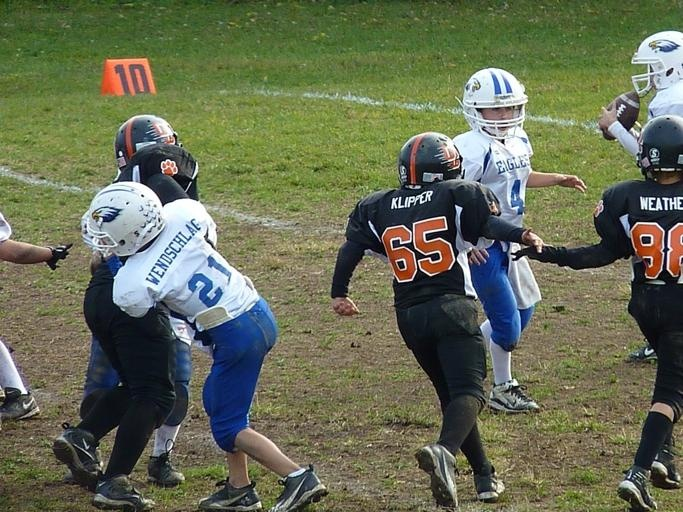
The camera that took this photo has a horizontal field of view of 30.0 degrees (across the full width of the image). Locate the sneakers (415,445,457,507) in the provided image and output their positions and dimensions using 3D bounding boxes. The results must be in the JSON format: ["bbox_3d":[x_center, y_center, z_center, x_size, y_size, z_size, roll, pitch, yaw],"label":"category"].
[{"bbox_3d":[0.801,1.864,10.730,0.324,0.556,0.174,-2,13,1],"label":"sneakers"}]

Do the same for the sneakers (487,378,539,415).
[{"bbox_3d":[1.793,1.407,12.510,0.663,0.257,0.223,2,0,17],"label":"sneakers"}]

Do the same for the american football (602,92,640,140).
[{"bbox_3d":[2.967,-1.545,13.344,0.368,0.527,0.382,-25,34,-31],"label":"american football"}]

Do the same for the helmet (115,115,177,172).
[{"bbox_3d":[-1.832,-1.103,12.295,0.726,0.463,0.484,-1,13,8],"label":"helmet"}]

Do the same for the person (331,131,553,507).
[{"bbox_3d":[0.894,0.561,11.242,1.270,3.212,1.578,-10,15,-28],"label":"person"}]
